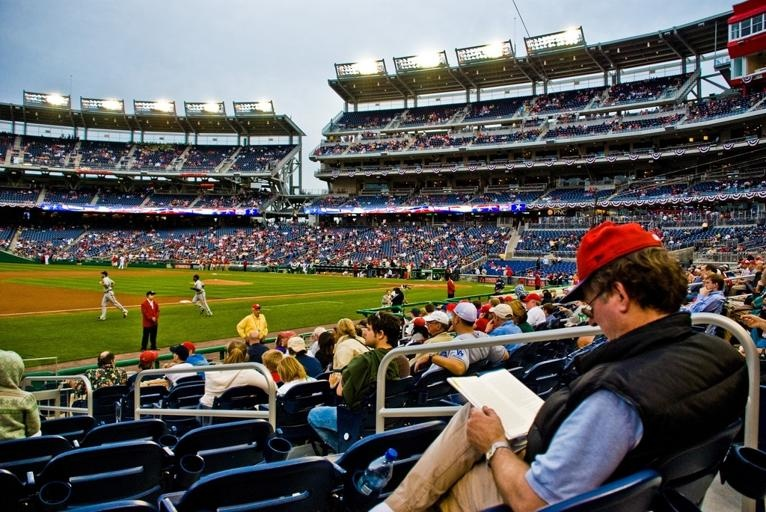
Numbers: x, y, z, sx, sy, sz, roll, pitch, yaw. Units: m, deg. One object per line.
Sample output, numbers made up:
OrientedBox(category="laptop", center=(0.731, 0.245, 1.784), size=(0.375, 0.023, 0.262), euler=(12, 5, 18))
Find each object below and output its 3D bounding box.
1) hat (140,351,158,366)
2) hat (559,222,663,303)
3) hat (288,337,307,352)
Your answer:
OrientedBox(category="hat", center=(-4.077, 1.768, 11.288), size=(0.174, 0.230, 0.481), euler=(-8, -6, 1))
OrientedBox(category="hat", center=(1.791, -0.018, 5.376), size=(0.838, 0.410, 0.579), euler=(-24, -7, 20))
OrientedBox(category="hat", center=(-1.310, 1.341, 9.879), size=(0.246, 0.252, 0.294), euler=(-6, -7, -9))
